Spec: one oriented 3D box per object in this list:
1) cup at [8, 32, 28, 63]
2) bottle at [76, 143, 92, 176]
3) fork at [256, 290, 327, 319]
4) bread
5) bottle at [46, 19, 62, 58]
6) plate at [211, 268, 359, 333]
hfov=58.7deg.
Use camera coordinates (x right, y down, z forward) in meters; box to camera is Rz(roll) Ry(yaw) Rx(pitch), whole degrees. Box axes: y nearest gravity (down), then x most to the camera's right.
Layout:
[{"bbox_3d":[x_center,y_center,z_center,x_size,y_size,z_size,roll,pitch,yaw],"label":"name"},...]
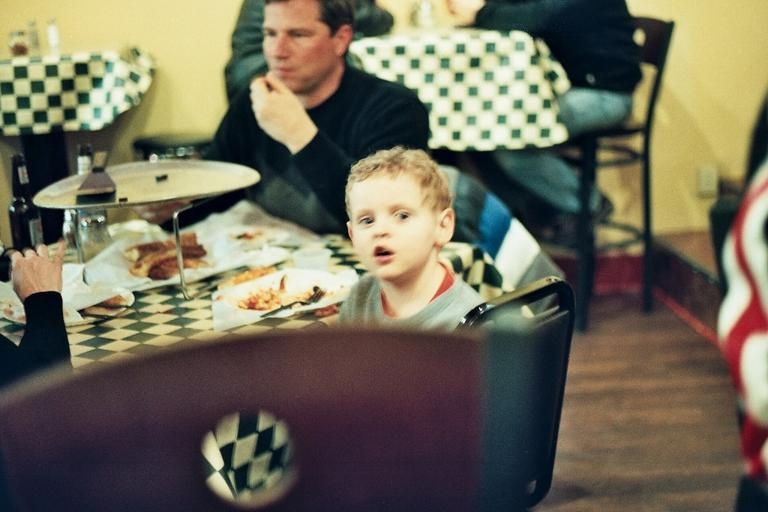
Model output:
[{"bbox_3d":[-1.218,-0.708,2.279,0.061,0.080,0.041,-12,22,-23],"label":"cup"},{"bbox_3d":[-0.685,-0.225,1.559,0.034,0.064,0.083,-12,22,-21],"label":"bottle"},{"bbox_3d":[-0.200,0.104,1.447,0.102,0.018,0.017,-28,-4,-33],"label":"fork"},{"bbox_3d":[-0.540,0.002,1.659,0.129,0.037,0.125,-13,20,-21],"label":"bread"},{"bbox_3d":[-1.122,-0.742,2.314,0.047,0.112,0.064,-12,22,-21],"label":"bottle"},{"bbox_3d":[-0.222,0.061,1.472,0.230,0.037,0.148,-18,21,-38],"label":"plate"}]
